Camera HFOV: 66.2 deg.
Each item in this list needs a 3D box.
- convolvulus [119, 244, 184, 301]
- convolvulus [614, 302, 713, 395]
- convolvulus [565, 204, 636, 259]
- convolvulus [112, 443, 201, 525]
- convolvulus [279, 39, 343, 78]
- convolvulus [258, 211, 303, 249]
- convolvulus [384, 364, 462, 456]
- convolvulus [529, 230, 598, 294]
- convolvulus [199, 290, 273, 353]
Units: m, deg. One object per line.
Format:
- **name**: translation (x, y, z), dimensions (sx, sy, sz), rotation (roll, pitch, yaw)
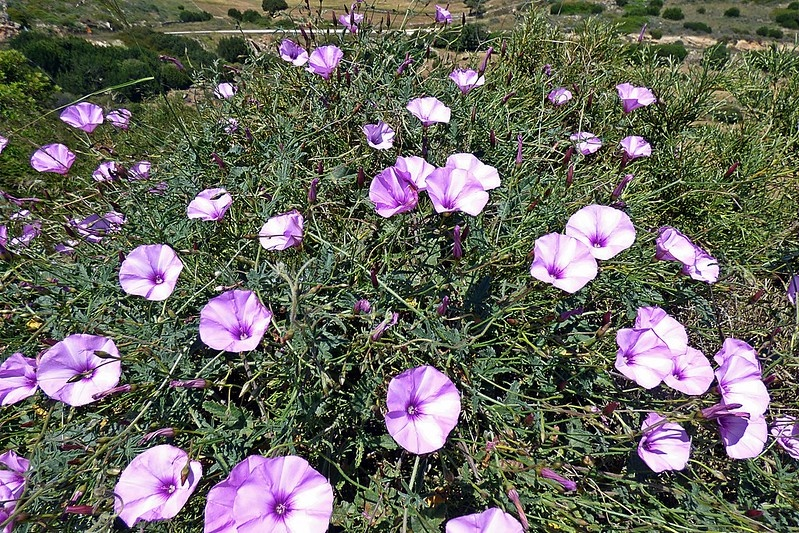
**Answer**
- **convolvulus**: translation (-1.756, 0.040, 4.421), dimensions (0.512, 0.485, 0.193), rotation (-7, 75, -30)
- **convolvulus**: translation (1.836, 0.618, 4.282), dimensions (0.701, 0.272, 0.601), rotation (17, 73, 5)
- **convolvulus**: translation (1.460, -0.236, 4.510), dimensions (0.515, 0.488, 0.248), rotation (23, 66, -41)
- **convolvulus**: translation (-1.597, 1.443, 4.124), dimensions (0.506, 0.213, 0.535), rotation (20, 81, 6)
- **convolvulus**: translation (-0.737, -1.759, 5.289), dimensions (0.541, 0.245, 0.369), rotation (6, 77, 26)
- **convolvulus**: translation (-0.822, -0.222, 4.400), dimensions (0.282, 0.140, 0.285), rotation (11, 64, 28)
- **convolvulus**: translation (0.096, 0.859, 3.939), dimensions (0.563, 0.508, 0.251), rotation (-2, 100, 6)
- **convolvulus**: translation (1.071, 0.001, 4.262), dimensions (0.433, 0.218, 0.466), rotation (-18, 70, -9)
- **convolvulus**: translation (-1.093, 0.390, 4.198), dimensions (0.466, 0.362, 0.414), rotation (6, 74, 0)
